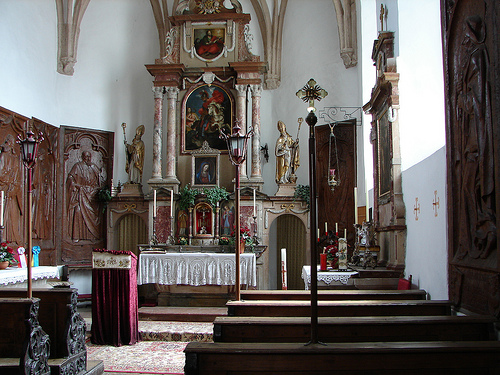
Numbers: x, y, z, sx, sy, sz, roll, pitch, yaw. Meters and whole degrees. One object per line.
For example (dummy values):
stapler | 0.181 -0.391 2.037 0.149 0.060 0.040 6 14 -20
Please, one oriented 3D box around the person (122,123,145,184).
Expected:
person | -2.850 -0.832 13.988 0.517 1.552 0.734 0 -5 -14

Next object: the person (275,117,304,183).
person | 0.881 -0.804 13.410 0.571 1.442 0.420 -2 -5 5
